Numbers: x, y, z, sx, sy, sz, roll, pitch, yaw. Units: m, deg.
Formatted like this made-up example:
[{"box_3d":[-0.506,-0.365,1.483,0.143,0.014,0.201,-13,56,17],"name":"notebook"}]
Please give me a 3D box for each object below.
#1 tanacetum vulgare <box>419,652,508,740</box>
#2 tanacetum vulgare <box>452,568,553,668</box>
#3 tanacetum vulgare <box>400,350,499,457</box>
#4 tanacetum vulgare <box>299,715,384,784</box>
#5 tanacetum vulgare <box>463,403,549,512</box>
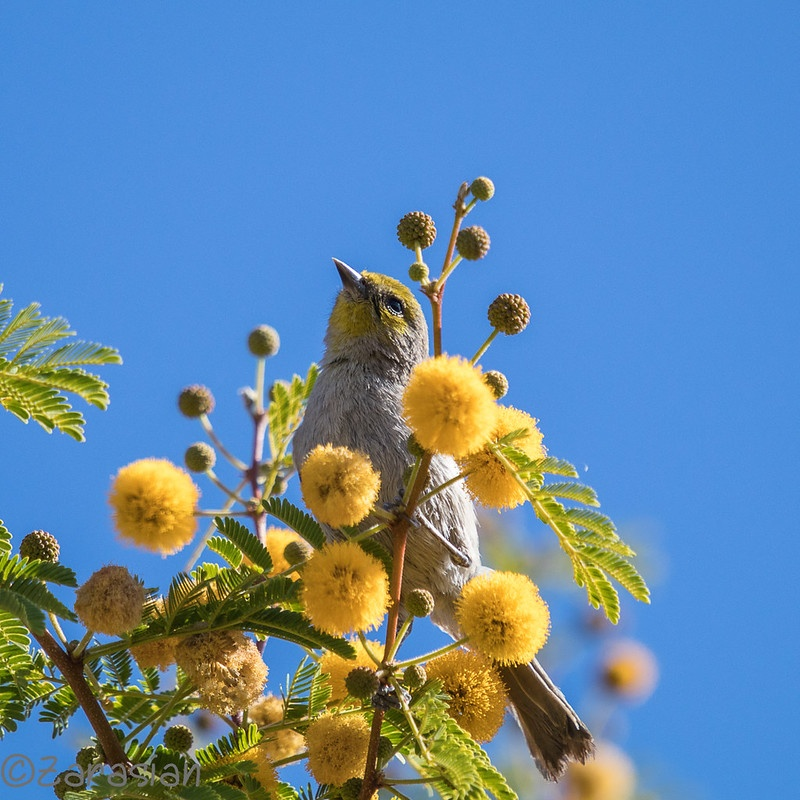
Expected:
[{"box_3d":[0.218,0.915,4.414,0.265,0.284,0.135,23,-48,-26],"name":"tanacetum vulgare"},{"box_3d":[0.313,0.640,4.188,0.288,0.354,0.261,-2,-43,-2],"name":"tanacetum vulgare"},{"box_3d":[0.139,0.021,3.909,0.189,0.322,0.236,0,-1,3],"name":"tanacetum vulgare"},{"box_3d":[-0.191,1.046,4.227,0.149,0.228,0.147,-8,-19,40],"name":"tanacetum vulgare"},{"box_3d":[0.309,0.142,4.426,0.246,0.349,0.278,0,1,-36],"name":"tanacetum vulgare"}]
